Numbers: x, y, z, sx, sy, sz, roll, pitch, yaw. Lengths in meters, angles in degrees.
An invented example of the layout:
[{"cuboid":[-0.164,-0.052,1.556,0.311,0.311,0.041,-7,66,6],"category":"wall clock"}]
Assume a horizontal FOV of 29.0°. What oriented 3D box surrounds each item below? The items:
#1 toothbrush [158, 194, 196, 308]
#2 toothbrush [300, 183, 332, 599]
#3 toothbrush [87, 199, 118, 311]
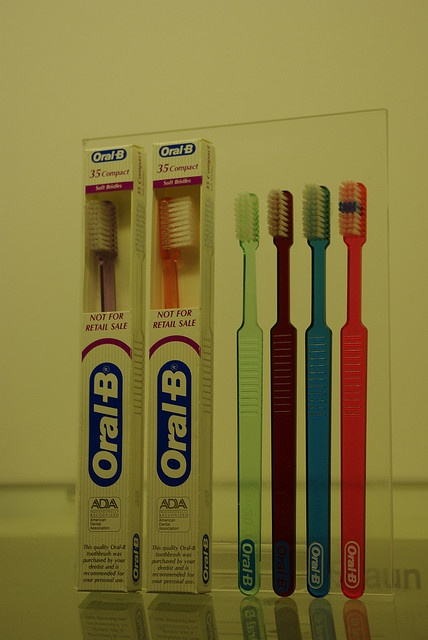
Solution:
[{"cuboid":[-0.043,-0.079,0.960,0.046,0.127,0.037,-3,3,9],"category":"toothbrush"},{"cuboid":[0.115,0.070,0.915,0.041,0.442,0.099,-3,3,11],"category":"toothbrush"},{"cuboid":[-0.131,-0.076,0.974,0.037,0.130,0.028,-4,3,-9],"category":"toothbrush"}]
